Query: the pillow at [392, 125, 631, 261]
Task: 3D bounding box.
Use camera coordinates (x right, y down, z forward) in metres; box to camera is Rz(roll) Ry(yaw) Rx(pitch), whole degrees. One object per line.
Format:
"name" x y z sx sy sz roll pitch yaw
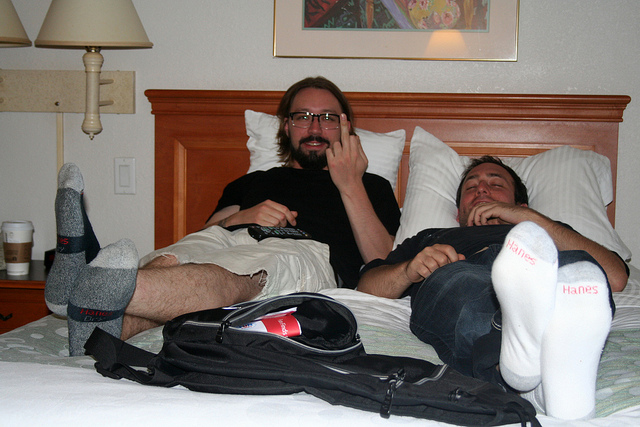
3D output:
"pillow" 0.834 -0.107 2.340 0.746 0.613 0.212 1 -33 16

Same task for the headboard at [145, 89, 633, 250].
"headboard" 0.122 -0.468 3.725 2.550 0.807 0.818 3 14 0

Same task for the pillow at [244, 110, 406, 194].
"pillow" 0.012 -0.319 2.527 0.801 0.387 0.106 1 0 4

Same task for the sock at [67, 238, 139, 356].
"sock" -0.598 0.225 1.524 0.275 0.309 0.197 2 12 -13

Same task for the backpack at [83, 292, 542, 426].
"backpack" -0.023 0.241 1.271 0.945 0.192 0.398 5 6 6

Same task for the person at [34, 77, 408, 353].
"person" -0.273 0.024 2.018 0.728 0.643 1.619 15 14 22

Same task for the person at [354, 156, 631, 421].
"person" 0.464 0.179 1.591 0.609 0.411 0.866 -1 0 5
